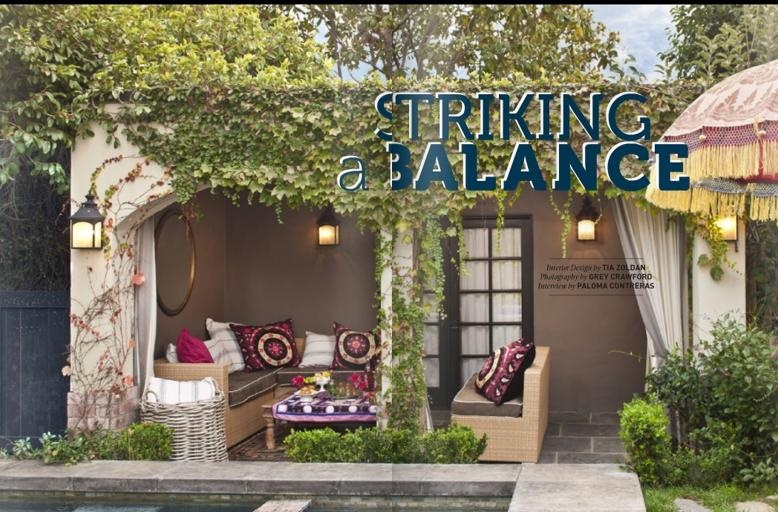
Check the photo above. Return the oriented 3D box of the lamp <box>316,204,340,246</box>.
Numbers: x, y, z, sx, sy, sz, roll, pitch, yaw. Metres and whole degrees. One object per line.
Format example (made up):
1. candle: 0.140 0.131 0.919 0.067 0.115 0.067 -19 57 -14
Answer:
1. lamp: -0.950 -0.502 12.343 0.333 0.609 0.178 0 -5 -7

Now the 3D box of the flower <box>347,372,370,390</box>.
1. flower: -0.388 1.627 10.259 0.263 0.162 0.260 10 4 -15

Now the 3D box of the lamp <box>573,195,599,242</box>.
1. lamp: 2.879 -0.555 11.451 0.335 0.671 0.229 0 -5 0

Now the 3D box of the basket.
1. basket: -2.472 1.977 9.596 0.988 1.001 0.378 1 -5 -14

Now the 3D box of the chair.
1. chair: 1.382 1.805 9.962 1.096 1.238 1.184 3 5 20

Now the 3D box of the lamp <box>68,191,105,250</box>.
1. lamp: -3.639 -0.413 9.532 0.372 0.635 0.252 0 -5 -8

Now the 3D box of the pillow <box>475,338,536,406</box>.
1. pillow: 1.462 1.400 9.777 0.308 0.756 0.742 38 26 3

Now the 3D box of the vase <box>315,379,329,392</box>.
1. vase: -0.852 1.687 10.343 0.152 0.115 0.148 9 -10 -43
